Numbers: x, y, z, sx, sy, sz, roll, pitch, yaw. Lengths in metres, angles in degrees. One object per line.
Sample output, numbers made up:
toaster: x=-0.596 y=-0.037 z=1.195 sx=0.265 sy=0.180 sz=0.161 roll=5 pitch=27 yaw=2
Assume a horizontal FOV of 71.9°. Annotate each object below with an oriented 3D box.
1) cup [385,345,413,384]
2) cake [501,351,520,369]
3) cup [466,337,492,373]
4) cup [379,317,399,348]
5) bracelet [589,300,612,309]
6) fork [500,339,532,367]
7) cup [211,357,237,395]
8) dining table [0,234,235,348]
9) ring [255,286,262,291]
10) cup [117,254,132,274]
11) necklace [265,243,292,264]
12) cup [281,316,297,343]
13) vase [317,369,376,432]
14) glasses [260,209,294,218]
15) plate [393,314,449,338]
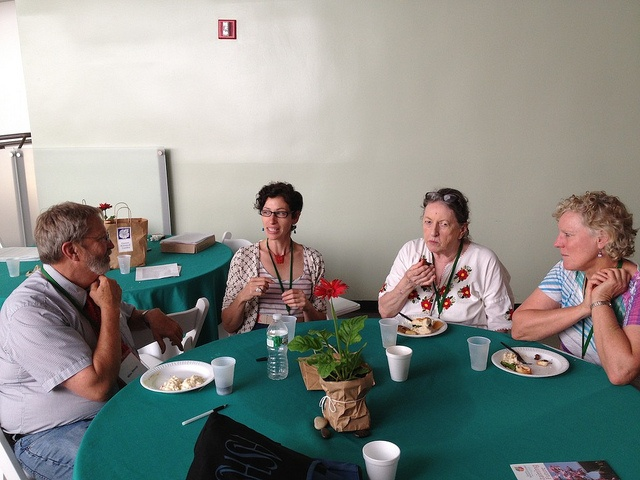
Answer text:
cup: x=0.315 y=0.486 z=1.782 sx=0.121 sy=0.116 sz=0.116 roll=1 pitch=13 yaw=0
cake: x=0.789 y=0.489 z=1.813 sx=0.052 sy=0.016 sz=0.052 roll=18 pitch=39 yaw=31
cup: x=0.647 y=0.463 z=1.787 sx=0.119 sy=0.129 sz=0.121 roll=-1 pitch=9 yaw=0
cup: x=0.306 y=0.411 z=2.004 sx=0.109 sy=0.125 sz=0.114 roll=-4 pitch=10 yaw=1
bracelet: x=1.192 y=0.283 z=1.864 sx=0.060 sy=0.037 sz=0.061 roll=20 pitch=-20 yaw=-17
fork: x=0.838 y=0.486 z=1.886 sx=0.020 sy=0.023 sz=0.154 roll=9 pitch=16 yaw=-24
cup: x=-0.356 y=0.511 z=1.712 sx=0.112 sy=0.126 sz=0.116 roll=-1 pitch=5 yaw=0
dining table: x=-1.021 y=0.270 z=3.043 sx=0.846 sy=0.553 sz=0.847 roll=-14 pitch=20 yaw=-42
ring: x=-0.325 y=0.265 z=2.378 sx=0.031 sy=0.028 sz=0.017 roll=-3 pitch=13 yaw=2
cup: x=-1.306 y=0.164 z=3.017 sx=0.108 sy=0.121 sz=0.113 roll=-2 pitch=11 yaw=0
necklace: x=-0.251 y=0.098 z=2.655 sx=0.107 sy=0.150 sz=0.040 roll=-5 pitch=-23 yaw=-15
cup: x=-0.132 y=0.394 z=1.985 sx=0.092 sy=0.100 sz=0.093 roll=0 pitch=13 yaw=0
vase: x=0.091 y=0.549 z=1.557 sx=0.194 sy=0.194 sz=0.178 roll=-10 pitch=15 yaw=-44
glasses: x=-0.263 y=-0.163 z=2.650 sx=0.198 sy=0.066 sz=0.104 roll=-4 pitch=13 yaw=-1
plate: x=0.497 y=0.423 z=2.119 sx=0.147 sy=0.022 sz=0.148 roll=-6 pitch=18 yaw=-17
